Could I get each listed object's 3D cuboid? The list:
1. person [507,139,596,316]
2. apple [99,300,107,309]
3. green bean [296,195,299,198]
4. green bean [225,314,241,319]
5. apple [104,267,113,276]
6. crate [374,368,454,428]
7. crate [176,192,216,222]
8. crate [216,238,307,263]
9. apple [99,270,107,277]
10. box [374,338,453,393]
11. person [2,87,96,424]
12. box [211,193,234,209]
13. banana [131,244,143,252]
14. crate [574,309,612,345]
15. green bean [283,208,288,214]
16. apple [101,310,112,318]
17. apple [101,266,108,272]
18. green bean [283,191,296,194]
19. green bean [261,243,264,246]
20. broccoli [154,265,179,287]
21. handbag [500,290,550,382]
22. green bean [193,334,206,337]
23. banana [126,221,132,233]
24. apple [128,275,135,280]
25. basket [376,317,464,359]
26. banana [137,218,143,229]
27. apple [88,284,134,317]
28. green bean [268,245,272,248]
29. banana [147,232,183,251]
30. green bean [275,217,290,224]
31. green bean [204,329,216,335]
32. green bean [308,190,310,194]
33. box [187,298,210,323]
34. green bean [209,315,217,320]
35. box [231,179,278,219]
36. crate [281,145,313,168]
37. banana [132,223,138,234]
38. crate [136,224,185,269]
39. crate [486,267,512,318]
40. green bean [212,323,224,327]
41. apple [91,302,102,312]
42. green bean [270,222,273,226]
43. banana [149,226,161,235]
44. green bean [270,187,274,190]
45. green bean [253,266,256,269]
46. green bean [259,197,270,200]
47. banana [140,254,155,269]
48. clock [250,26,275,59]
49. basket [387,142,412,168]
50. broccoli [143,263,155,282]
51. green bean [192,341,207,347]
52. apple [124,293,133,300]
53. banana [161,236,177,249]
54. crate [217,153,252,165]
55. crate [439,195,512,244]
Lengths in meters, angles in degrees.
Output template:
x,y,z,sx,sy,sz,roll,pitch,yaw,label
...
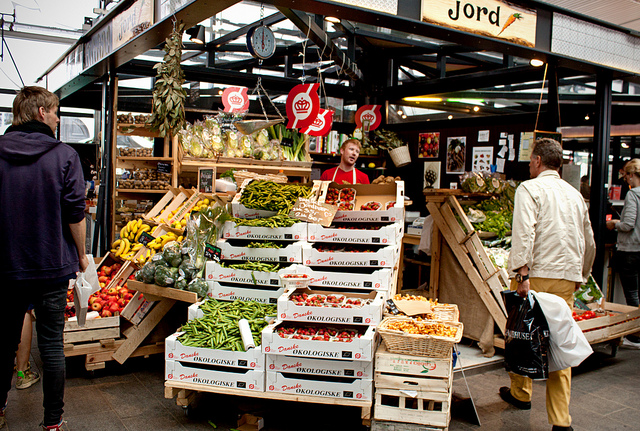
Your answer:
x,y,z,sx,sy,sz,roll,pitch,yaw,label
2.339,0.072,5.013,1.043,1.665,0.530,-5,12,-28,person
-2.507,1.011,5.723,0.052,0.059,0.050,-4,-37,35,apple
-0.242,-0.215,5.461,0.031,0.025,0.044,-2,10,-13,green bean
-0.880,1.002,4.961,0.186,0.041,0.035,12,-2,8,green bean
-2.682,0.706,6.304,0.094,0.088,0.087,31,-20,-26,apple
0.890,1.672,4.680,0.520,0.294,0.510,-1,-4,18,crate
-1.598,-0.131,6.236,0.276,0.491,0.214,37,-9,29,crate
-0.532,0.364,5.670,1.041,0.222,0.922,4,3,17,crate
-2.739,0.734,6.273,0.058,0.063,0.056,-1,0,6,apple
0.830,1.460,4.882,0.799,0.281,0.736,4,1,5,box
-2.494,0.324,4.452,0.666,2.902,0.650,4,11,20,person
-1.159,-0.185,5.991,0.259,0.259,0.193,-4,2,10,box
-2.267,0.399,6.146,0.109,0.028,0.079,-13,2,-44,banana
3.391,1.390,6.192,0.512,0.289,0.488,-7,3,-14,crate
-0.373,-0.043,5.337,0.021,0.012,0.076,13,40,9,green bean
-2.409,1.107,5.603,0.066,0.069,0.073,20,-26,-16,apple
-2.745,0.668,6.318,0.055,0.050,0.063,5,-16,-40,apple
-0.329,-0.256,5.479,0.129,0.026,0.043,0,10,0,green bean
-0.602,0.304,5.254,0.034,0.008,0.032,4,38,6,green bean
-1.634,0.651,5.296,0.233,0.181,0.109,39,-19,1,broccoli
2.006,1.158,4.816,0.472,0.868,0.258,7,13,33,handbag
-1.161,1.157,4.806,0.097,0.017,0.014,9,9,6,green bean
-2.558,0.145,6.635,0.045,0.139,0.112,3,-16,-19,banana
-2.316,0.752,6.106,0.065,0.023,0.070,1,4,-2,apple
0.942,1.146,4.684,0.760,0.266,0.383,3,10,14,basket
-2.347,0.103,6.480,0.046,0.036,0.127,9,23,-5,banana
-2.428,1.002,5.765,0.394,0.122,0.373,0,28,4,apple
-0.522,0.324,5.218,0.029,0.026,0.007,1,1,11,green bean
-1.899,0.304,6.094,0.398,0.179,0.120,-20,-19,-28,banana
-0.390,0.047,5.266,0.167,0.026,0.026,13,-23,7,green bean
-1.066,1.126,4.818,0.115,0.025,0.029,26,23,13,green bean
-0.120,-0.268,5.516,0.011,0.042,0.046,10,-11,-12,green bean
-1.246,0.961,5.056,0.130,0.153,0.234,1,3,13,box
-1.060,1.009,4.950,0.087,0.024,0.030,3,10,15,green bean
-0.812,-0.236,5.473,0.490,0.432,0.157,1,-26,2,box
-0.384,-0.940,7.963,0.327,0.334,0.717,7,12,32,crate
-2.424,0.166,6.508,0.067,0.126,0.043,4,-32,15,banana
-1.904,0.388,6.161,0.568,0.490,0.144,21,-23,25,crate
2.220,0.910,6.125,0.276,0.553,0.164,10,14,43,crate
-0.998,1.067,4.858,0.085,0.018,0.032,-4,11,-23,green bean
-2.542,1.036,5.650,0.099,0.089,0.085,9,-11,-11,apple
-0.512,0.086,5.254,0.033,0.032,0.008,-34,-25,-16,green bean
-2.041,0.179,6.122,0.091,0.062,0.097,2,-13,-12,banana
-0.528,-0.304,5.530,0.032,0.027,0.007,9,-14,-12,green bean
-0.681,0.540,5.187,0.028,0.026,0.005,3,11,14,green bean
-0.605,-0.194,5.442,0.100,0.029,0.032,1,10,2,green bean
-1.977,0.524,5.693,0.060,0.190,0.056,35,-12,20,banana
-0.843,-2.567,7.304,0.127,0.434,0.487,8,12,34,clock
1.471,-1.147,9.403,0.422,0.418,0.398,-28,-11,30,basket
-1.840,0.615,5.343,0.078,0.153,0.124,1,-16,9,broccoli
-1.156,1.215,4.737,0.125,0.019,0.026,-18,43,-30,green bean
-2.238,0.938,5.792,0.075,0.066,0.070,3,-4,-28,apple
-1.825,0.326,6.041,0.195,0.141,0.092,-6,12,-33,banana
-1.284,-0.834,7.275,0.550,0.168,0.199,-6,12,-34,crate
1.899,0.042,6.641,0.986,0.880,0.272,-5,40,-24,crate
